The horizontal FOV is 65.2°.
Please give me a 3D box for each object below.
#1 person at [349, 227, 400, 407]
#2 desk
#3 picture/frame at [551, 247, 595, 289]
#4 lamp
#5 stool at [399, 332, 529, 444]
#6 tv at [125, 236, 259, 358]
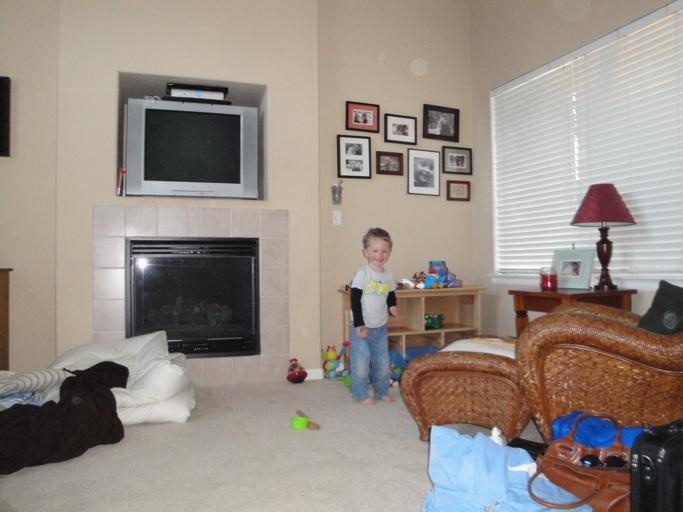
[{"bbox_3d":[0.212,0.407,3.577,0.301,1.174,0.424,0,9,4],"label":"person"},{"bbox_3d":[1.502,0.284,3.455,0.539,0.500,0.529,2,-2,-26],"label":"desk"},{"bbox_3d":[1.614,0.096,3.681,0.023,0.237,0.237,19,-27,-30],"label":"picture/frame"},{"bbox_3d":[1.745,-0.137,3.539,0.377,0.678,0.426,4,10,27],"label":"lamp"},{"bbox_3d":[0.644,0.655,2.762,0.493,0.325,0.549,-4,-6,25],"label":"stool"},{"bbox_3d":[-1.144,0.311,3.912,0.918,0.844,0.343,0,2,-10],"label":"tv"}]
